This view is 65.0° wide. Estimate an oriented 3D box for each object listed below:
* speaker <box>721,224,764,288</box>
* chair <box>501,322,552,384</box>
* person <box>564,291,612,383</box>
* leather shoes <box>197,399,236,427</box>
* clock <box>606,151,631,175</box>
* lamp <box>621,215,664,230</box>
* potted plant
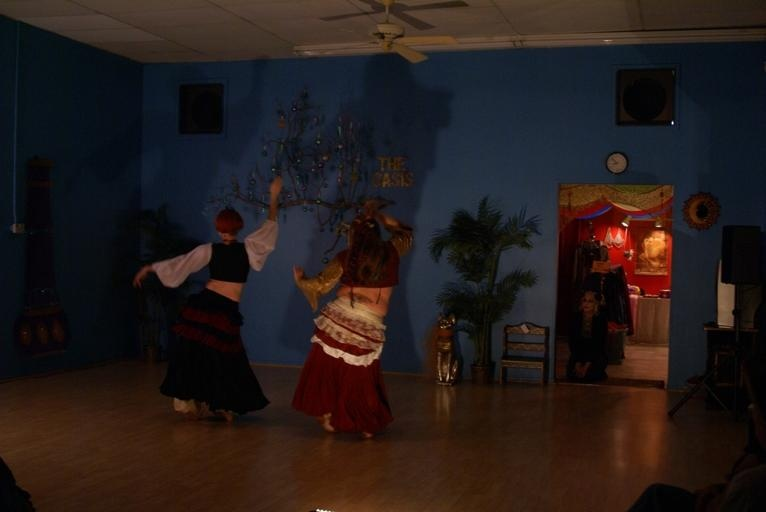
[{"bbox_3d":[3.657,0.005,6.113,0.376,0.604,0.234,2,4,24],"label":"speaker"},{"bbox_3d":[1.724,1.199,7.348,0.550,0.726,0.405,1,0,18],"label":"chair"},{"bbox_3d":[2.629,1.007,7.726,0.439,1.075,0.699,3,4,36],"label":"person"},{"bbox_3d":[-1.628,1.466,5.770,0.251,0.115,0.257,2,-6,20],"label":"leather shoes"},{"bbox_3d":[2.827,-1.109,7.287,0.264,0.268,0.054,-4,3,9],"label":"clock"},{"bbox_3d":[4.765,-0.601,10.956,0.768,0.207,0.314,0,3,-11],"label":"lamp"},{"bbox_3d":[1.363,0.451,7.609,1.456,2.304,1.580,3,4,14],"label":"potted plant"}]
